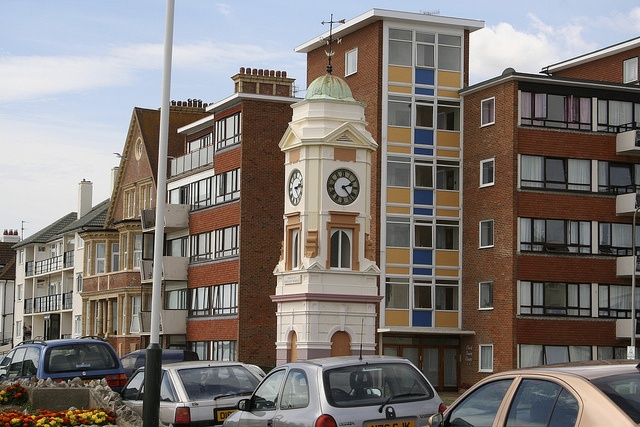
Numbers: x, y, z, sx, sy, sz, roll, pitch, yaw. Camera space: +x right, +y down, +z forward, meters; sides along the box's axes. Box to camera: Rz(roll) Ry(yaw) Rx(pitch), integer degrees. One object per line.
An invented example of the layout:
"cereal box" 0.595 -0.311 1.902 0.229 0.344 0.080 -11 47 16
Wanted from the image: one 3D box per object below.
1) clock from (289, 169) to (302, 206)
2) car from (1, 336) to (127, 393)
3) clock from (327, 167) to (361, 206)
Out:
"clock" -1.283 -1.409 61.074 0.112 1.919 1.564 6 -13 -27
"car" -8.222 4.815 37.523 3.916 1.778 1.467 -3 -12 12
"clock" 1.143 -1.393 60.230 2.245 1.945 0.162 1 -6 -13
